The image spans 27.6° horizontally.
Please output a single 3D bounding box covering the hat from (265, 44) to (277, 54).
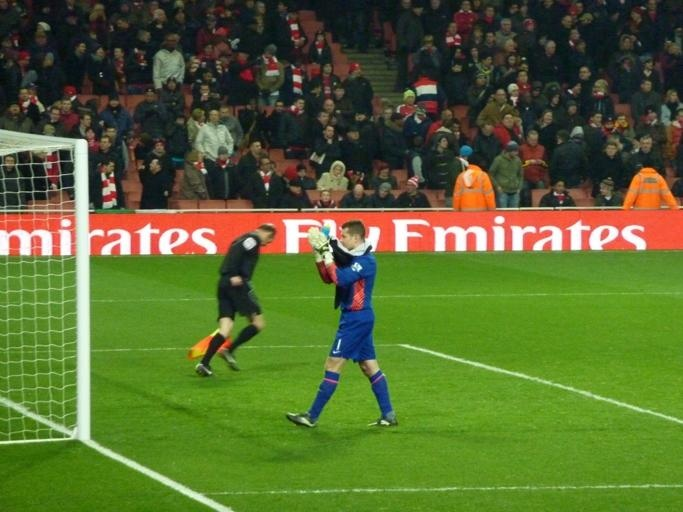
[{"bbox_3d":[-1.699,-4.977,33.484,0.290,0.228,0.209,-4,7,-8],"label":"hat"}]

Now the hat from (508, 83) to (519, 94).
[{"bbox_3d":[4.140,-4.008,33.459,0.229,0.206,0.255,-14,23,-27],"label":"hat"}]

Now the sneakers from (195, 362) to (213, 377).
[{"bbox_3d":[-2.227,1.850,22.605,0.362,0.149,0.130,8,4,-18],"label":"sneakers"}]

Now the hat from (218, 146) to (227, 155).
[{"bbox_3d":[-2.656,-2.359,31.171,0.209,0.201,0.236,1,2,-6],"label":"hat"}]

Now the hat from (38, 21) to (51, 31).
[{"bbox_3d":[-6.988,-5.392,32.638,0.223,0.234,0.303,22,8,15],"label":"hat"}]

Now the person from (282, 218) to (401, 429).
[{"bbox_3d":[0.117,1.048,21.071,1.172,3.151,1.032,2,3,28],"label":"person"}]

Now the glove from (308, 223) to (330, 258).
[{"bbox_3d":[-0.332,-0.246,21.065,0.365,0.413,0.165,-3,3,-4],"label":"glove"}]

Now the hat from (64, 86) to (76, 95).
[{"bbox_3d":[-6.179,-3.754,31.655,0.241,0.255,0.545,0,2,-14],"label":"hat"}]

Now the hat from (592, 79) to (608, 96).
[{"bbox_3d":[6.440,-4.147,34.341,0.387,0.456,0.375,-4,6,-42],"label":"hat"}]

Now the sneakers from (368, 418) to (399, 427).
[{"bbox_3d":[0.640,2.551,21.268,0.440,0.183,0.160,1,3,8],"label":"sneakers"}]

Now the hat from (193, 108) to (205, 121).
[{"bbox_3d":[-3.239,-3.191,31.608,0.231,0.278,0.266,8,4,15],"label":"hat"}]

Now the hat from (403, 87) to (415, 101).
[{"bbox_3d":[1.600,-3.791,32.701,0.256,0.272,0.350,-1,15,3],"label":"hat"}]

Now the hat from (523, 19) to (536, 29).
[{"bbox_3d":[4.797,-5.881,35.471,0.240,0.262,0.284,-8,-3,0],"label":"hat"}]

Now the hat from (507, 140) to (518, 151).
[{"bbox_3d":[3.857,-2.462,31.346,0.217,0.204,0.289,2,3,35],"label":"hat"}]

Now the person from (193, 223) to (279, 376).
[{"bbox_3d":[-1.734,0.735,22.889,1.213,2.500,0.782,1,2,-5],"label":"person"}]
